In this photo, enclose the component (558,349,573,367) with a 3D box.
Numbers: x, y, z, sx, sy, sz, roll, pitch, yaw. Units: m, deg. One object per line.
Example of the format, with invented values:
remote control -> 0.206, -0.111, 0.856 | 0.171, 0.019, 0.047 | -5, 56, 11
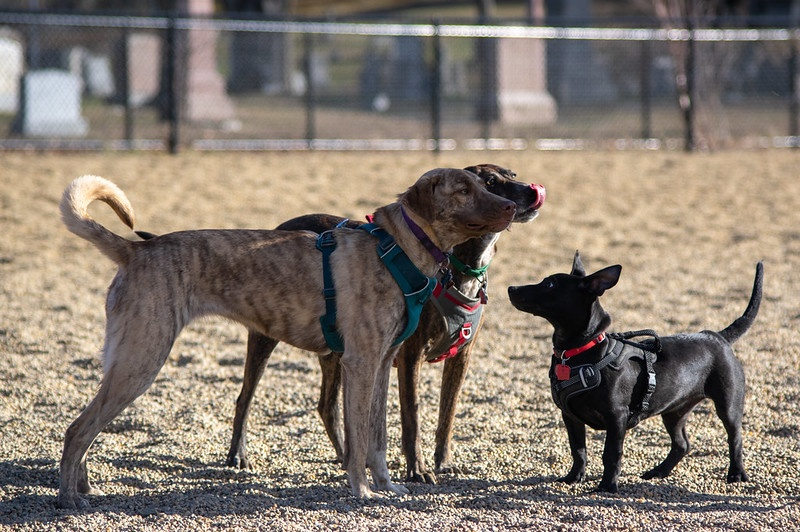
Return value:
component -> 2.045, 1.141, 18.483 | 0.100, 0.186, 0.045 | 2, -7, 24
